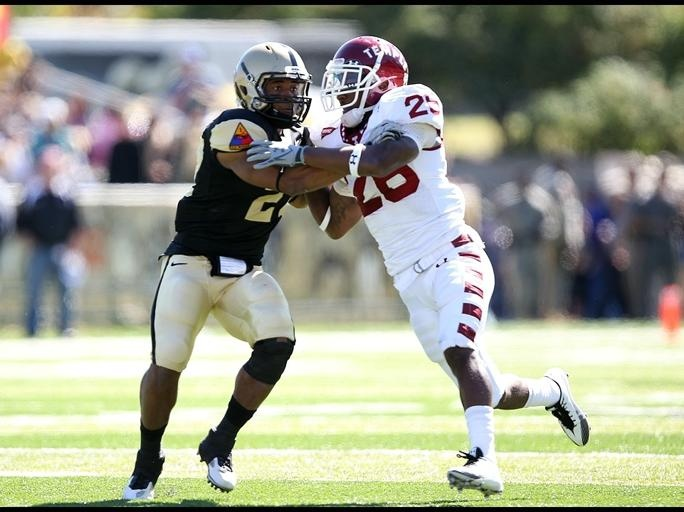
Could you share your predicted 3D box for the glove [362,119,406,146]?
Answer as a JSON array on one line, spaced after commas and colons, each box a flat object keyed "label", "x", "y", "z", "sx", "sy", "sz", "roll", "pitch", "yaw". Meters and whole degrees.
[{"label": "glove", "x": 0.225, "y": -0.618, "z": 4.955, "sx": 0.156, "sy": 0.060, "sz": 0.147, "roll": -26, "pitch": 7, "yaw": 21}]

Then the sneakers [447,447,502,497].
[{"label": "sneakers", "x": 0.667, "y": 1.085, "z": 4.654, "sx": 0.228, "sy": 0.220, "sz": 0.283, "roll": 4, "pitch": 1, "yaw": 29}]

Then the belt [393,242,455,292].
[{"label": "belt", "x": 0.427, "y": 0.081, "z": 5.076, "sx": 0.361, "sy": 0.088, "sz": 0.204, "roll": -31, "pitch": -12, "yaw": 7}]

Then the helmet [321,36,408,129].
[{"label": "helmet", "x": 0.085, "y": -0.978, "z": 5.455, "sx": 0.621, "sy": 0.465, "sz": 0.460, "roll": 0, "pitch": -1, "yaw": -15}]

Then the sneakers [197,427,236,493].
[{"label": "sneakers", "x": -0.680, "y": 1.097, "z": 5.039, "sx": 0.223, "sy": 0.277, "sz": 0.269, "roll": 3, "pitch": 1, "yaw": -6}]

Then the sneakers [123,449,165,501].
[{"label": "sneakers", "x": -1.068, "y": 1.166, "z": 4.953, "sx": 0.113, "sy": 0.280, "sz": 0.114, "roll": 9, "pitch": -40, "yaw": -6}]

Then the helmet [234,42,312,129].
[{"label": "helmet", "x": -0.388, "y": -0.943, "z": 5.163, "sx": 0.403, "sy": 0.403, "sz": 0.522, "roll": -2, "pitch": 8, "yaw": -44}]
